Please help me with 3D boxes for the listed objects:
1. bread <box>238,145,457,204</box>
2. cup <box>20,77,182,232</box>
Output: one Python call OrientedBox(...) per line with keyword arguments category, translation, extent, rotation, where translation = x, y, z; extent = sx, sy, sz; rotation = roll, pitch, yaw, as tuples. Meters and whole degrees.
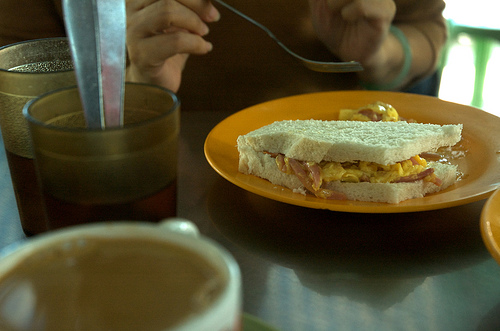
OrientedBox(category="bread", translation=(0.226, 0.040, 1.172), extent=(0.361, 0.049, 0.235), rotation=(6, 20, 13))
OrientedBox(category="cup", translation=(-0.204, -0.024, 0.660), extent=(0.211, 0.231, 0.160), rotation=(-16, 38, -32))
